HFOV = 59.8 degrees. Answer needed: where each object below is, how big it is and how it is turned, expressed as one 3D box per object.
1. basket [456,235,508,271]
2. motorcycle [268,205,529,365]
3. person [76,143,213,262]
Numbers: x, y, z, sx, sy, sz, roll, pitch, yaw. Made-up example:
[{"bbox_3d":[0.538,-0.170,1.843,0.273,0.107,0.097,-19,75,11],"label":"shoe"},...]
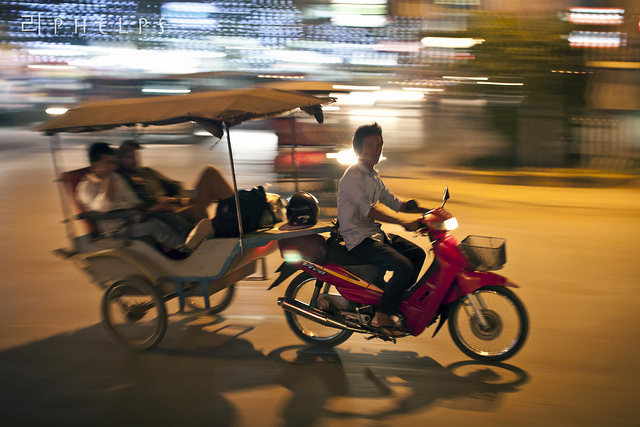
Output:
[{"bbox_3d":[1.815,0.462,6.419,0.488,0.272,0.561,-13,-2,-23],"label":"basket"},{"bbox_3d":[0.916,0.849,6.725,3.269,1.269,1.076,0,-6,26],"label":"motorcycle"},{"bbox_3d":[-2.376,-0.155,7.043,1.521,1.404,0.585,7,14,18],"label":"person"}]
